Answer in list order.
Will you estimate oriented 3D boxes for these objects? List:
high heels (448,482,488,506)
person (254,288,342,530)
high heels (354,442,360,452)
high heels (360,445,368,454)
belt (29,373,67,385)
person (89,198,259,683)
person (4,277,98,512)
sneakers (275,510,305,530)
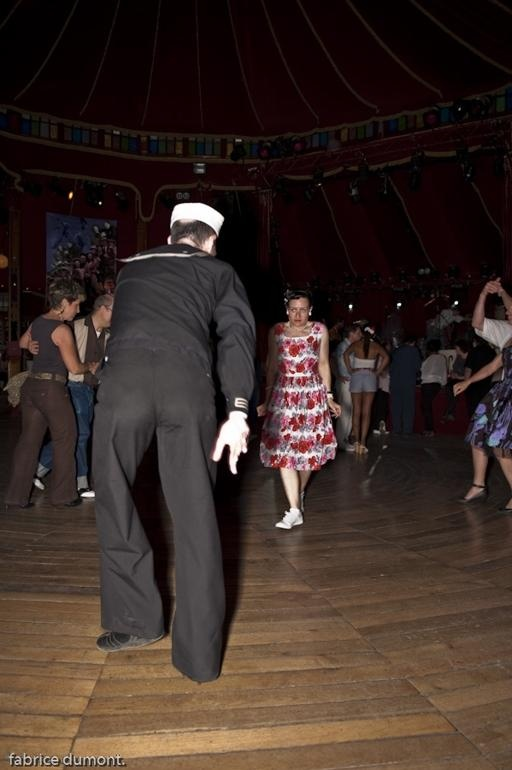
[{"bbox_3d":[1.569,0.819,4.549,0.361,0.155,0.119,1,-3,-33],"label":"high heels"},{"bbox_3d":[0.264,0.152,3.838,0.498,1.449,0.490,1,3,1],"label":"person"},{"bbox_3d":[1.171,0.723,7.035,0.070,0.078,0.202,-2,-20,9],"label":"high heels"},{"bbox_3d":[1.245,0.755,7.033,0.055,0.059,0.152,-5,-21,15],"label":"high heels"},{"bbox_3d":[-1.383,-0.045,4.025,0.225,0.066,0.084,0,3,-16],"label":"belt"},{"bbox_3d":[-0.251,0.142,1.745,0.500,1.385,0.368,1,3,8],"label":"person"},{"bbox_3d":[-1.363,0.057,4.049,0.653,1.549,0.327,2,4,14],"label":"person"},{"bbox_3d":[0.209,0.824,3.703,0.075,0.079,0.206,-4,-10,29],"label":"sneakers"}]
